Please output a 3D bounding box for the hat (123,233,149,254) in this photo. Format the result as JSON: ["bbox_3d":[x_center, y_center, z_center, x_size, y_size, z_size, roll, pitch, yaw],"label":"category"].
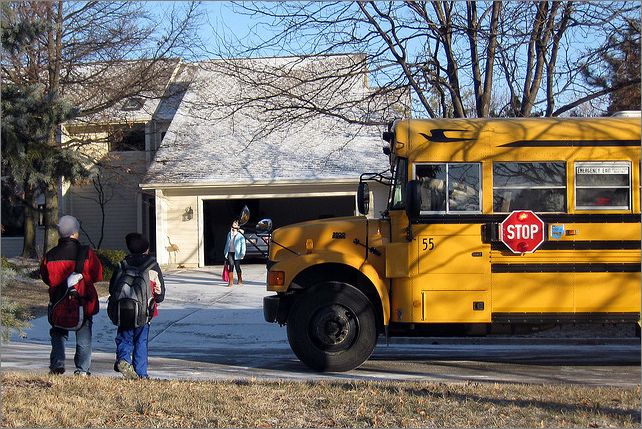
[{"bbox_3d":[-3.692,0.578,21.023,0.455,0.372,0.327,-2,-3,-23],"label":"hat"}]

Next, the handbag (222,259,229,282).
[{"bbox_3d":[-2.832,1.654,31.163,0.182,0.689,0.300,-19,48,-24],"label":"handbag"}]

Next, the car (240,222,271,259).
[{"bbox_3d":[-2.112,0.873,34.769,0.976,0.717,1.528,0,2,5],"label":"car"}]

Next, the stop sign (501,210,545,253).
[{"bbox_3d":[4.088,0.376,21.518,0.782,0.741,0.130,1,-7,0],"label":"stop sign"}]
